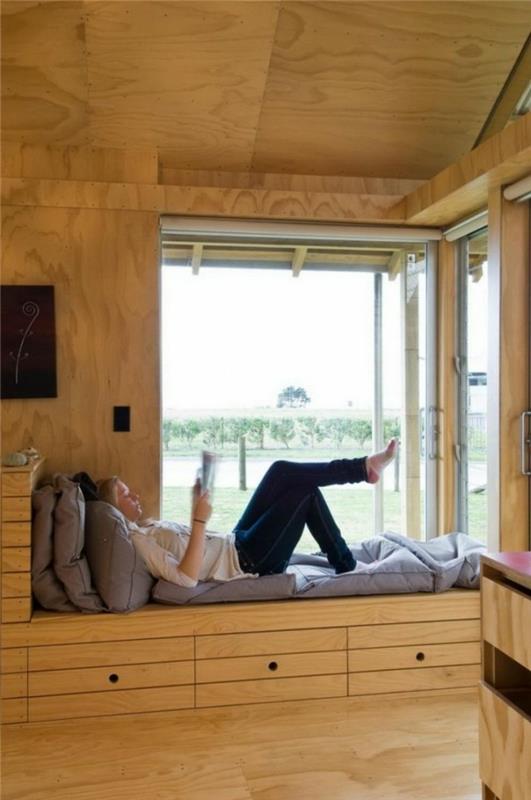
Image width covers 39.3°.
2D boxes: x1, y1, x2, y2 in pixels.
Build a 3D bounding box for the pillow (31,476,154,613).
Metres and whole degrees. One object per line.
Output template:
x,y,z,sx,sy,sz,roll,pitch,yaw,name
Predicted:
-0.631,0.539,2.743,0.429,0.467,0.208,1,-1,-9,pillow
